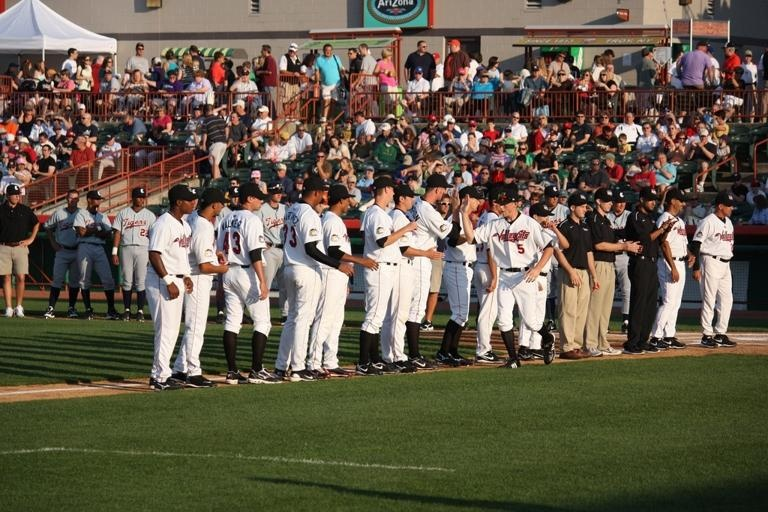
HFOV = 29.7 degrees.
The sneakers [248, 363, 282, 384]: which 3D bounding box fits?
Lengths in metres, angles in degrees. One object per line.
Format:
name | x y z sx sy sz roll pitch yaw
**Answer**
sneakers | -2.259 2.269 26.815 0.651 0.284 0.250 0 -2 -9

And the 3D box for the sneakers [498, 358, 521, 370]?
sneakers | 2.345 2.102 27.846 0.409 0.168 0.171 -1 3 -8

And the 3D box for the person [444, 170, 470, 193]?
person | 1.719 -1.754 34.600 0.517 0.416 0.819 2 2 9

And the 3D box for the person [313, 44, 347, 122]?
person | -1.612 -4.886 41.238 0.752 2.121 0.706 4 -5 -39

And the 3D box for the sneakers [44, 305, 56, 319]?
sneakers | -7.634 1.312 33.085 0.252 0.288 0.614 1 -4 -13

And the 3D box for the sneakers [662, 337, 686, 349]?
sneakers | 5.835 1.825 29.667 0.571 0.246 0.194 0 3 -11

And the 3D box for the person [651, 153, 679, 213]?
person | 6.632 -1.842 35.185 0.753 1.275 0.750 2 6 -3

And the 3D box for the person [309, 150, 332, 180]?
person | -1.590 -2.232 36.025 0.489 0.778 0.963 1 -4 -3

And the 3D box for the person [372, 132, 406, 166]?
person | 0.099 -2.692 37.462 0.796 0.978 0.757 13 8 20

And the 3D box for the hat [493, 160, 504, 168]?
hat | 2.691 -2.196 35.033 0.243 0.111 0.344 1 4 6

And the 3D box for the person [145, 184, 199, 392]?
person | -3.910 0.581 26.287 0.846 3.734 0.573 1 -4 -14

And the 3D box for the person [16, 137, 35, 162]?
person | -9.956 -2.913 40.169 0.337 0.277 0.766 0 26 -37

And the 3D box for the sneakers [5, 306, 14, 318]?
sneakers | -8.562 1.318 33.111 0.215 0.229 0.545 1 -4 -19

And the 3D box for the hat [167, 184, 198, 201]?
hat | -3.692 -1.133 26.390 0.423 0.225 0.303 -15 12 -11

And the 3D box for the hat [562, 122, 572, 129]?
hat | 4.638 -3.339 37.239 0.215 0.159 0.211 2 5 4

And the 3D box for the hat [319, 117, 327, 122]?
hat | -1.733 -3.743 39.823 0.275 0.115 0.383 -1 -3 1

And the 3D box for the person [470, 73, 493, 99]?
person | 2.668 -4.718 40.528 0.740 0.690 0.400 0 -17 9

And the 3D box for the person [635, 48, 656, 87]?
person | 7.147 -5.173 40.058 0.531 1.241 0.830 -1 -4 13

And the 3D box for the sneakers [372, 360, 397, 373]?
sneakers | -0.040 2.152 27.627 0.551 0.213 0.182 6 8 -11

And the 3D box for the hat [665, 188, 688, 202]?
hat | 5.833 -1.183 29.208 0.428 0.231 0.299 2 10 0

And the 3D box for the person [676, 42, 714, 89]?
person | 8.320 -5.092 39.002 0.896 1.331 0.759 8 1 28

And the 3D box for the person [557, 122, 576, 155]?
person | 4.545 -2.931 37.016 0.503 0.923 0.602 10 18 27

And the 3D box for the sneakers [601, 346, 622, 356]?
sneakers | 4.481 1.951 29.075 0.346 0.149 0.191 -1 4 -14

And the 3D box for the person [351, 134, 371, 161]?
person | -0.641 -2.795 37.852 0.511 0.706 0.436 -9 -29 19

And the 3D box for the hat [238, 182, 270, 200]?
hat | -2.590 -1.229 27.145 0.752 0.334 0.454 2 9 -36

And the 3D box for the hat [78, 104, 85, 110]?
hat | -8.982 -4.410 42.978 0.239 0.182 0.245 0 -3 9

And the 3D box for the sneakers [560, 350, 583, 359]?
sneakers | 3.637 1.973 28.710 0.463 0.178 0.168 -3 6 5

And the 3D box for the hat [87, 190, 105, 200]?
hat | -6.625 -1.378 33.080 0.294 0.163 0.210 -1 1 23

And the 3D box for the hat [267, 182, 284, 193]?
hat | -2.477 -1.525 32.784 0.402 0.204 0.300 -16 7 16

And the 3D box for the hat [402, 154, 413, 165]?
hat | 0.523 -2.392 36.558 0.206 0.157 0.304 -8 27 5

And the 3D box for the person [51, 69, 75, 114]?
person | -9.693 -4.844 44.009 0.659 1.470 0.627 3 3 8

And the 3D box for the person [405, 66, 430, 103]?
person | 0.914 -4.812 41.106 0.685 1.086 0.975 0 -4 0

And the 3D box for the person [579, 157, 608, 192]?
person | 4.901 -1.918 34.359 0.639 0.883 0.889 -4 -5 44

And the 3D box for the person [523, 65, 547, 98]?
person | 4.017 -4.801 39.693 0.504 0.993 0.690 -3 -5 42

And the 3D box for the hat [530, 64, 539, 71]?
hat | 4.101 -5.220 40.189 0.314 0.150 0.421 -1 6 -1

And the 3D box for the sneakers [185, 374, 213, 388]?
sneakers | -3.407 2.333 26.429 0.520 0.210 0.185 0 2 -11

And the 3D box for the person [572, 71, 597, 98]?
person | 5.344 -4.558 39.398 0.588 0.753 0.335 4 -32 3

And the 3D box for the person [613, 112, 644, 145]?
person | 6.221 -3.250 37.466 0.970 0.876 0.520 2 -9 8

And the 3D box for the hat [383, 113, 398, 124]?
hat | 0.120 -3.734 39.423 0.350 0.137 0.383 2 0 -18

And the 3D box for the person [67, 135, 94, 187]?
person | -8.363 -2.545 40.044 0.715 1.490 0.655 1 -4 -13

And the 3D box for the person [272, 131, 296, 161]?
person | -2.740 -2.900 38.862 0.792 0.673 0.455 -1 -11 21

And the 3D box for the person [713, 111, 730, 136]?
person | 8.435 -3.299 36.739 0.374 0.720 0.997 -1 -4 12

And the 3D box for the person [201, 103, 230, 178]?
person | -4.565 -3.030 38.945 0.702 2.193 1.053 1 -4 -7

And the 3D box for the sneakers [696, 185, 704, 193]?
sneakers | 7.652 -1.618 35.549 0.116 0.132 0.321 3 9 19

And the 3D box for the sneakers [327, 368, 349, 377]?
sneakers | -0.893 2.223 27.380 0.439 0.178 0.157 0 9 0

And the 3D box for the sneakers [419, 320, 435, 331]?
sneakers | 0.875 1.568 31.583 0.320 0.209 0.146 -1 -1 6

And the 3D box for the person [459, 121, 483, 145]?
person | 2.178 -3.188 37.798 0.572 0.580 0.711 0 6 10

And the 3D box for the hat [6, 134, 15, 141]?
hat | -10.654 -3.349 41.258 0.222 0.150 0.217 0 -2 -4

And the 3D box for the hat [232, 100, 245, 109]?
hat | -3.972 -4.138 39.577 0.270 0.125 0.390 1 1 14

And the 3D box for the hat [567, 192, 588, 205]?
hat | 3.756 -1.110 28.574 0.338 0.292 0.314 0 -4 7
